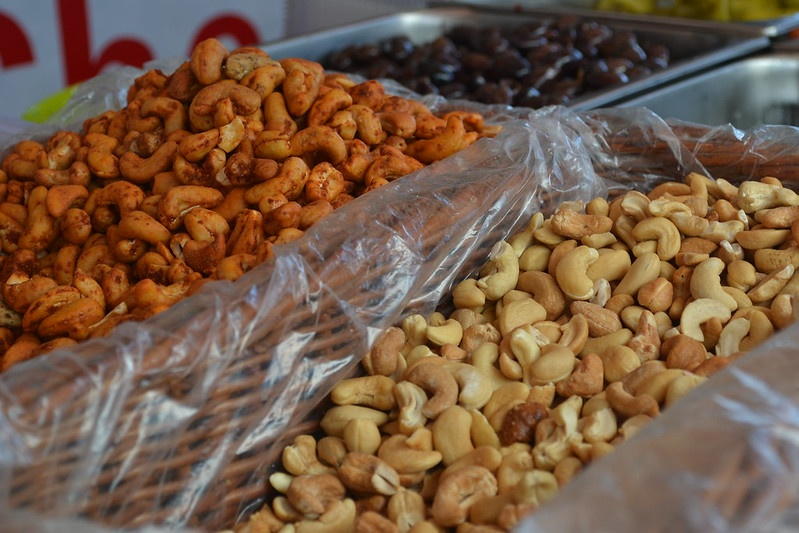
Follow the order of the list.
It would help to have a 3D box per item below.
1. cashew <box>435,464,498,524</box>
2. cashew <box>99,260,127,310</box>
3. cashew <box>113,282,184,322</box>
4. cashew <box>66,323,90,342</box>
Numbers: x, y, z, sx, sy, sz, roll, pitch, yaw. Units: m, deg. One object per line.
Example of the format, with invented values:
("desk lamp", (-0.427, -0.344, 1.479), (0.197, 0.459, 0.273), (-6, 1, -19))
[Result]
("cashew", (0.092, 0.332, 1.042), (0.086, 0.068, 0.036), (-27, -2, -11))
("cashew", (-0.502, 0.035, 1.250), (0.052, 0.070, 0.040), (-8, -17, 23))
("cashew", (-0.423, 0.052, 1.202), (0.091, 0.040, 0.071), (-19, 19, -30))
("cashew", (-0.526, 0.109, 1.167), (0.034, 0.034, 0.020), (-22, 2, -14))
